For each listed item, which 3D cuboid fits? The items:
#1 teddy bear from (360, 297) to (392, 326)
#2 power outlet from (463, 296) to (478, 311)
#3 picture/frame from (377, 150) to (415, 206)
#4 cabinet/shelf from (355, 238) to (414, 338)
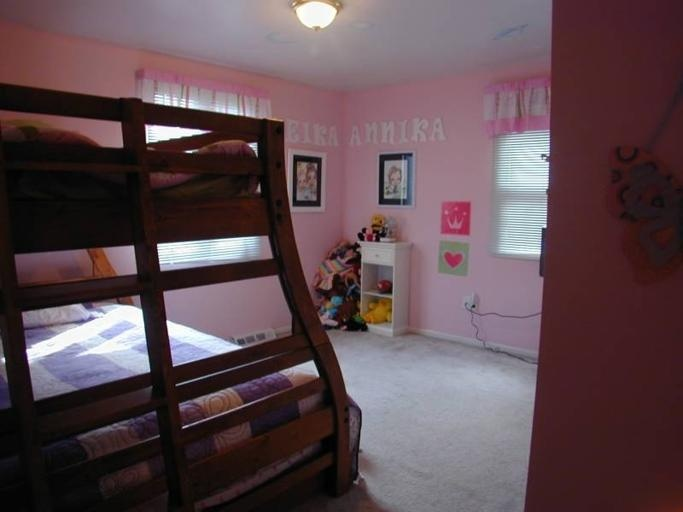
[{"bbox_3d":[0.364,0.557,5.038,0.284,0.221,0.119,-6,-23,7],"label":"teddy bear"},{"bbox_3d":[1.233,0.433,4.638,0.140,0.146,0.083,6,5,36],"label":"power outlet"},{"bbox_3d":[0.589,-0.827,5.102,0.538,0.748,0.028,5,4,43],"label":"picture/frame"},{"bbox_3d":[0.451,0.305,5.070,0.481,0.932,0.372,6,11,34],"label":"cabinet/shelf"}]
